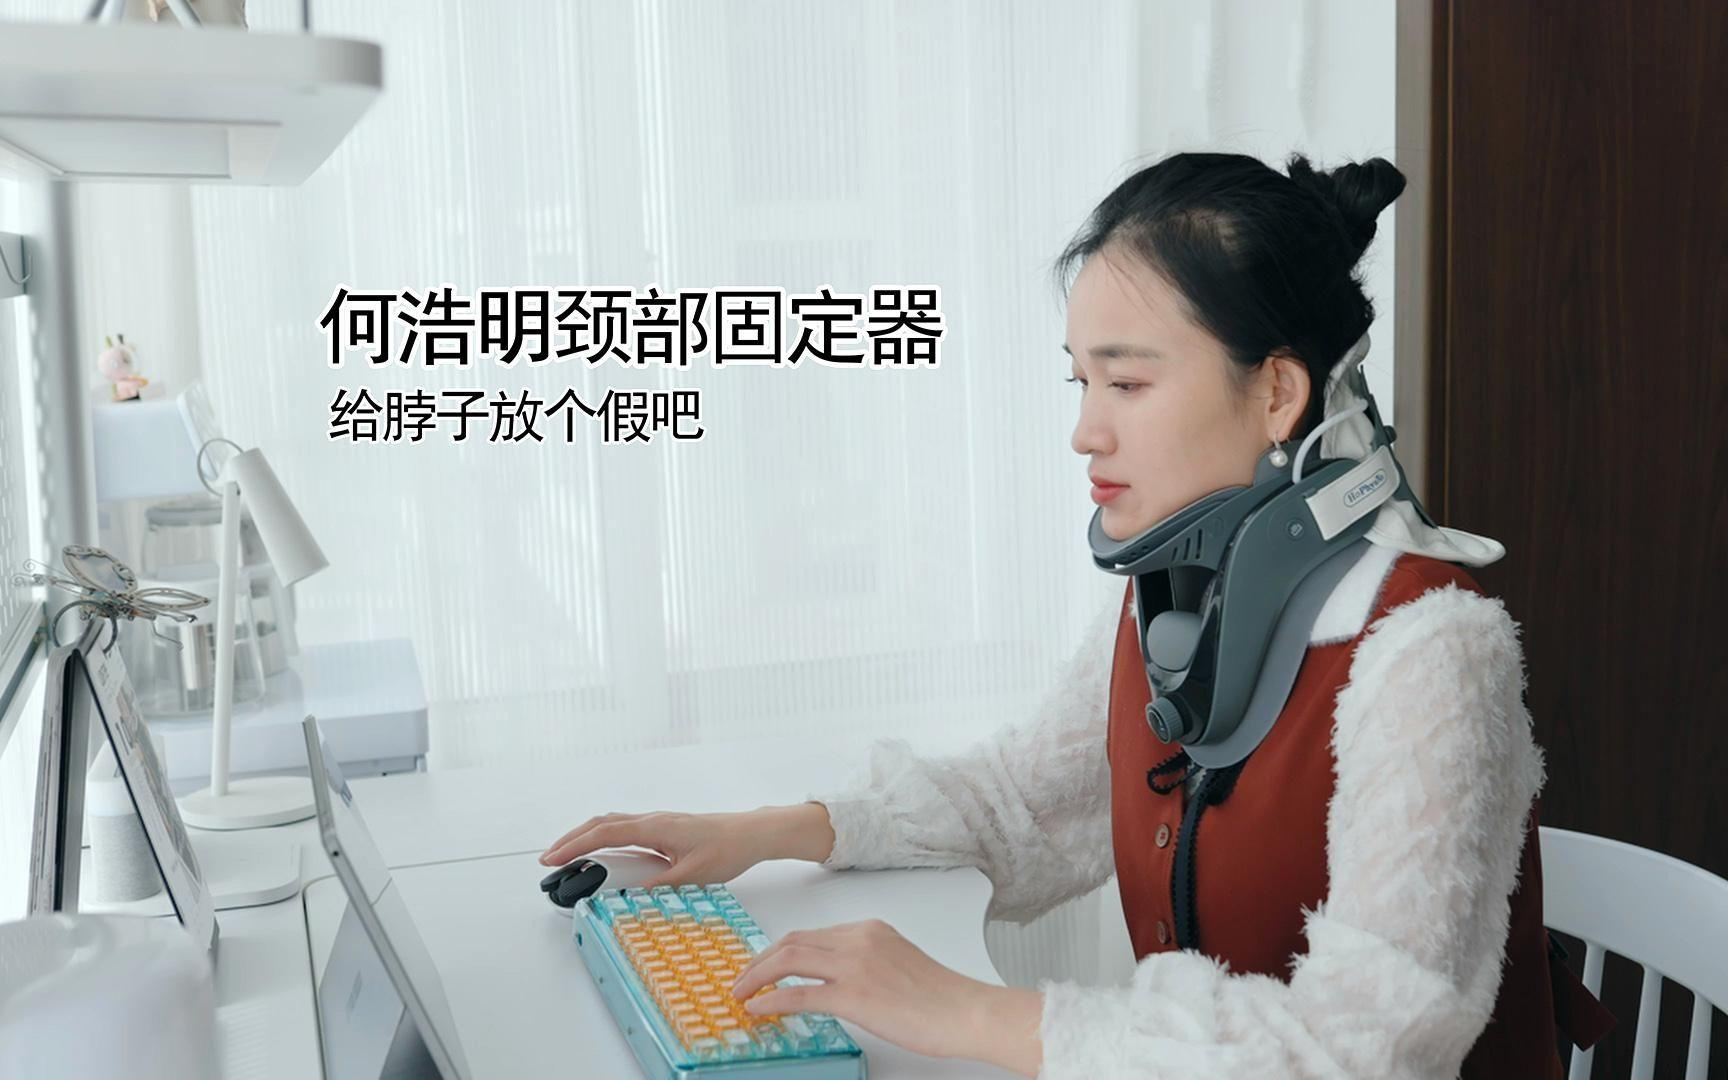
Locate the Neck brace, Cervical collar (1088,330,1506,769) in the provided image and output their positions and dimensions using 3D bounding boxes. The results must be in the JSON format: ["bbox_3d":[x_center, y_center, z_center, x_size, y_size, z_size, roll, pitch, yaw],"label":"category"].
[{"bbox_3d":[0.474,-0.019,1.623,0.416,0.465,0.361,-9,-1,-12],"label":"Neck brace, Cervical collar"}]

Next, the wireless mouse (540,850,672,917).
[{"bbox_3d":[-0.306,0.379,1.600,0.119,0.038,0.068,-4,4,-43],"label":"wireless mouse"}]
